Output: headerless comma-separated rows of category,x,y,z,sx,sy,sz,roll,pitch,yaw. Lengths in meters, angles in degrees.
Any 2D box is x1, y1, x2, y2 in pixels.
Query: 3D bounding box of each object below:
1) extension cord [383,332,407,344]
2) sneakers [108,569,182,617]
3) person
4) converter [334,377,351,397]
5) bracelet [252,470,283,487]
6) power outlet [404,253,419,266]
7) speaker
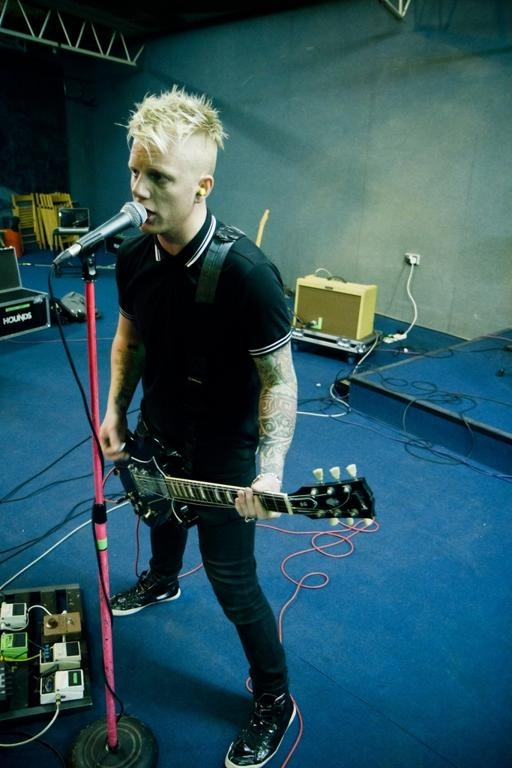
extension cord,1.391,-0.469,6.277,0.105,0.123,0.363,6,6,42
sneakers,-0.450,0.808,2.580,0.356,0.172,0.124,-7,27,-20
person,-0.154,0.199,1.830,0.586,1.890,0.917,0,10,-14
converter,0.659,0.019,4.812,0.088,0.126,0.132,12,4,-39
bracelet,0.024,0.230,1.469,0.067,0.034,0.100,3,9,0
power outlet,1.676,-1.340,6.723,0.064,0.134,0.194,-3,11,-32
speaker,0.747,-0.720,5.790,0.722,0.488,0.386,17,22,34
